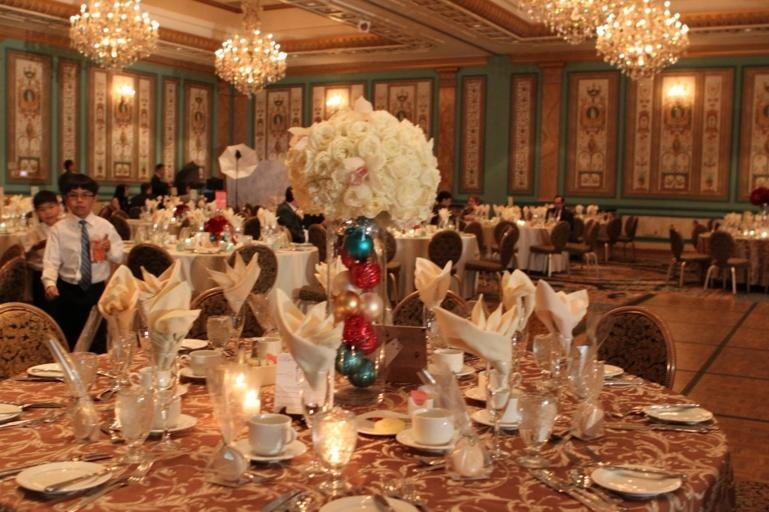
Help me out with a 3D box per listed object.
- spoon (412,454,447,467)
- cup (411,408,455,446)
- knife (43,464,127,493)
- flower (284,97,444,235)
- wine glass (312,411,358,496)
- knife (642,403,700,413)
[{"bbox_3d":[0.136,0.590,1.680,0.061,0.011,0.033,5,25,1],"label":"spoon"},{"bbox_3d":[0.143,0.503,1.727,0.125,0.081,0.092,0,-3,-11],"label":"cup"},{"bbox_3d":[-0.801,0.589,1.536,0.031,0.019,0.222,27,15,26],"label":"knife"},{"bbox_3d":[-0.075,-0.317,2.182,0.480,0.471,0.462,1,2,-6],"label":"flower"},{"bbox_3d":[-0.138,0.500,1.551,0.111,0.225,0.158,0,9,-6],"label":"wine glass"},{"bbox_3d":[1.008,0.527,2.036,0.081,0.011,0.081,1,-3,-37],"label":"knife"}]
